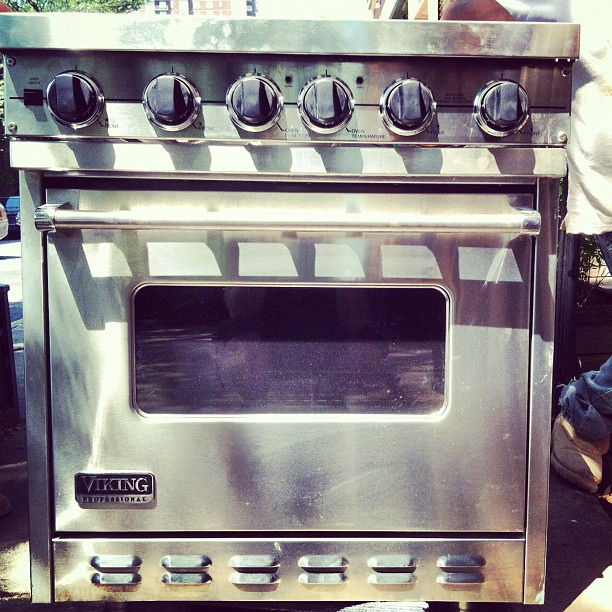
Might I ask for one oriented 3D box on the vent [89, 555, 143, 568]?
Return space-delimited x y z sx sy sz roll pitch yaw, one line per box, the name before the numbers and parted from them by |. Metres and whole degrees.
vent | -0.394 0.524 1.696 0.059 0.012 0.045 5 -34 -1
